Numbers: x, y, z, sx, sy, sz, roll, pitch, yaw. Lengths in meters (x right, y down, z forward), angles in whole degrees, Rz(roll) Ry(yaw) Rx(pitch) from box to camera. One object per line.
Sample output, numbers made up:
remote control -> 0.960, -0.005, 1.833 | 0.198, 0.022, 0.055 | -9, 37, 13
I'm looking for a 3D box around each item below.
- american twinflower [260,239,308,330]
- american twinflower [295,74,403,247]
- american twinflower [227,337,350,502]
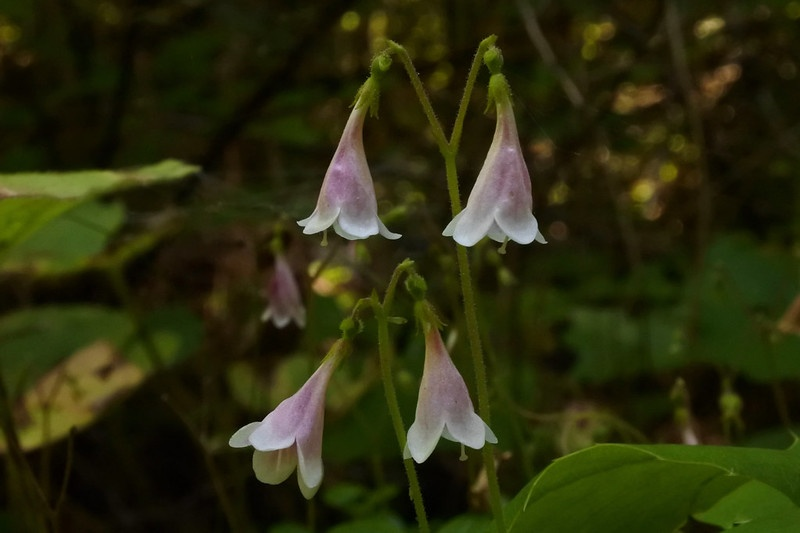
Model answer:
american twinflower -> -0.565, 0.086, 4.197 | 0.200, 0.437, 0.251 | -2, -10, -10
american twinflower -> -0.297, -0.384, 3.461 | 0.503, 0.733, 0.540 | 4, -3, -20
american twinflower -> -0.374, 0.637, 3.412 | 0.388, 0.623, 0.282 | 29, -26, 5
